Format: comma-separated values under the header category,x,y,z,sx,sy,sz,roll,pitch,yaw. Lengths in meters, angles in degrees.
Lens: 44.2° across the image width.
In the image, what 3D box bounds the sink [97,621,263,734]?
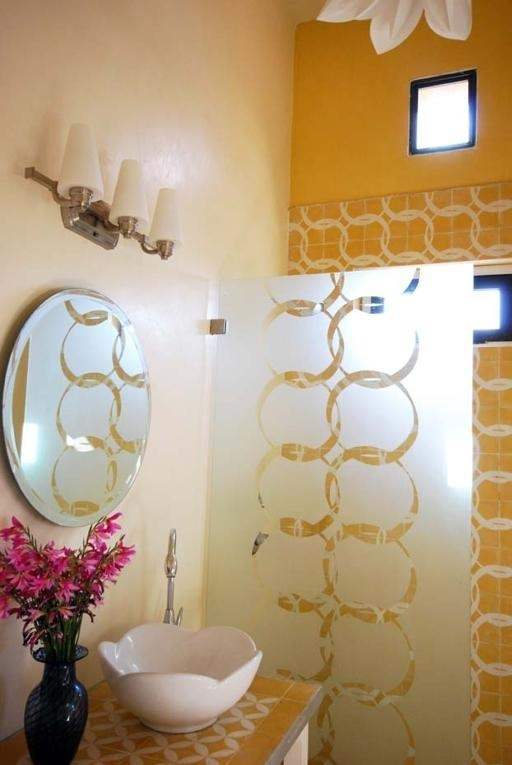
category,x,y,z,sx,sy,sz,roll,pitch,yaw
sink,-0.174,0.667,1.430,0.356,0.174,0.450,4,-5,3

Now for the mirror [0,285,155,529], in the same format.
category,x,y,z,sx,sy,sz,roll,pitch,yaw
mirror,-0.424,0.055,1.469,0.014,0.660,0.675,0,0,19

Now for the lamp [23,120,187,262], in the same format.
category,x,y,z,sx,sy,sz,roll,pitch,yaw
lamp,-0.332,-0.462,1.540,0.181,0.255,0.526,3,-5,15
